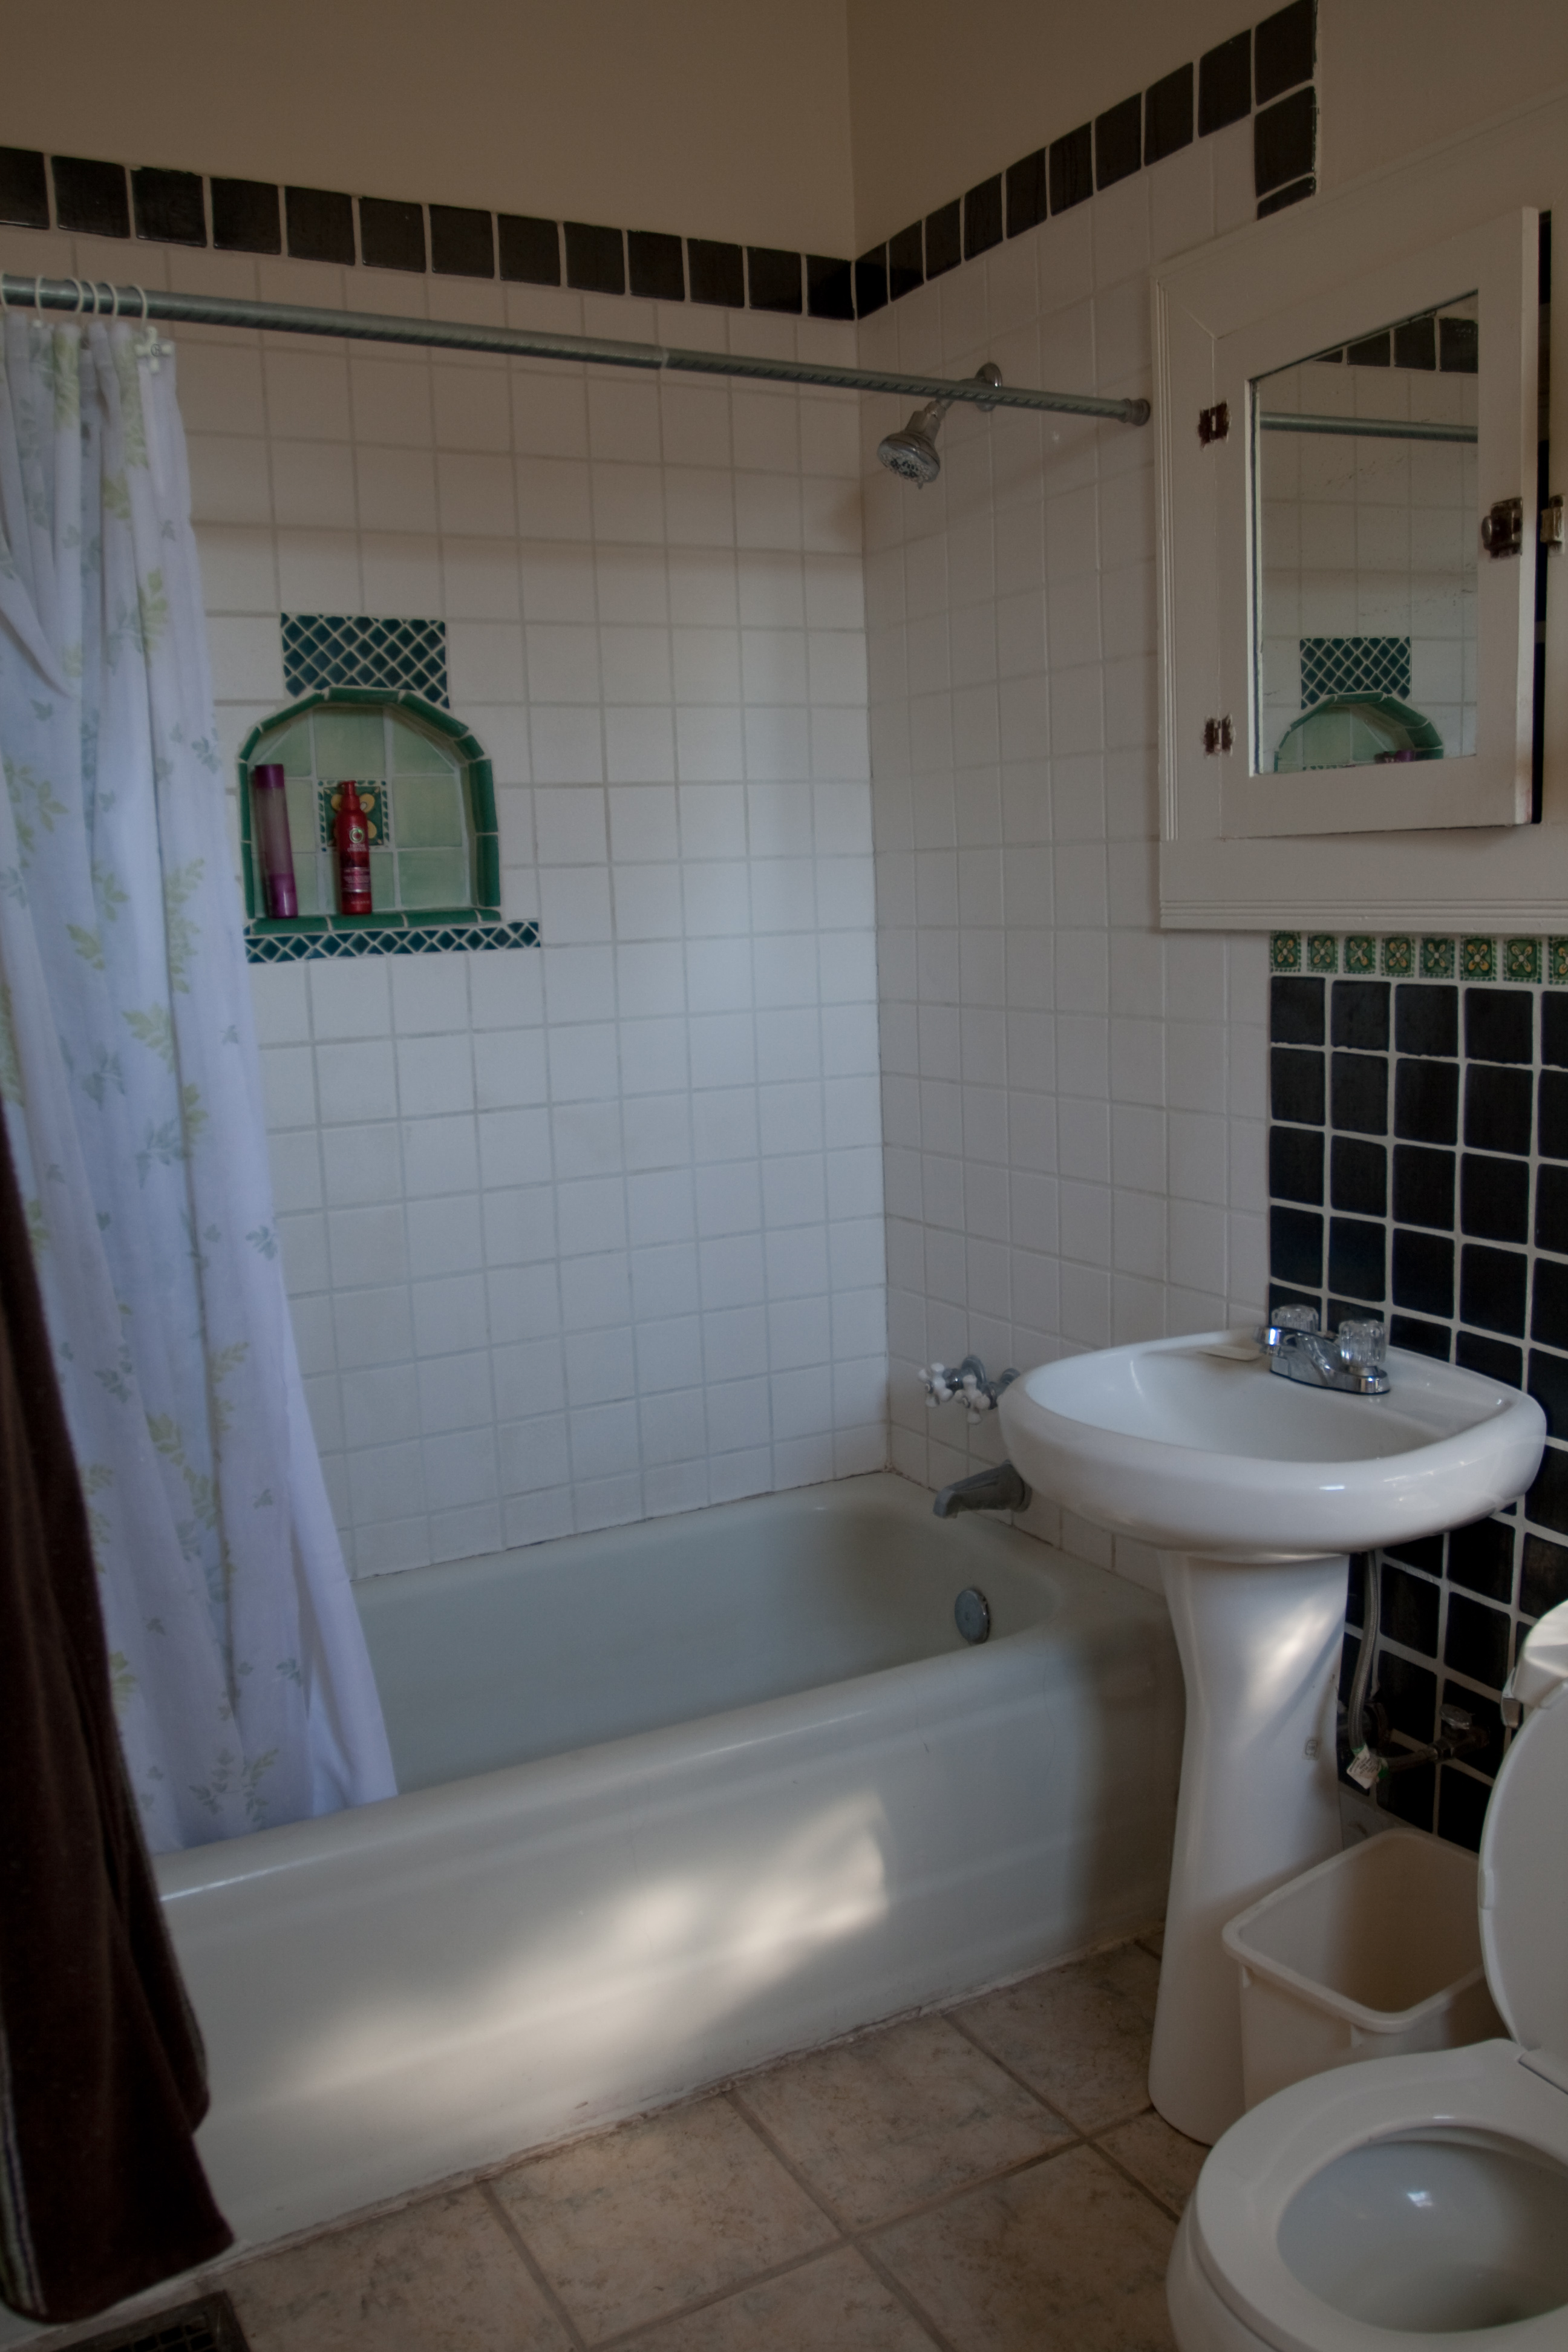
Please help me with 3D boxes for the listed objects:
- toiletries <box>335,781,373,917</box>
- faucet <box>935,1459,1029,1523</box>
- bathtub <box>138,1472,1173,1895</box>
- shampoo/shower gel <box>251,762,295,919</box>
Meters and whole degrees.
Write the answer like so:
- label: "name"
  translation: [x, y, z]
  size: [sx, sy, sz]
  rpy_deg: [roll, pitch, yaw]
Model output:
- label: "toiletries"
  translation: [-0.596, -0.452, 2.426]
  size: [0.052, 0.187, 0.055]
  rpy_deg: [-5, 6, -28]
- label: "faucet"
  translation: [0.255, 0.421, 2.308]
  size: [0.129, 0.077, 0.073]
  rpy_deg: [8, -5, -43]
- label: "bathtub"
  translation: [-0.065, 0.697, 2.356]
  size: [0.880, 0.287, 0.794]
  rpy_deg: [-5, 6, -26]
- label: "shampoo/shower gel"
  translation: [-0.685, -0.451, 2.378]
  size: [0.042, 0.210, 0.067]
  rpy_deg: [0, 6, 29]
